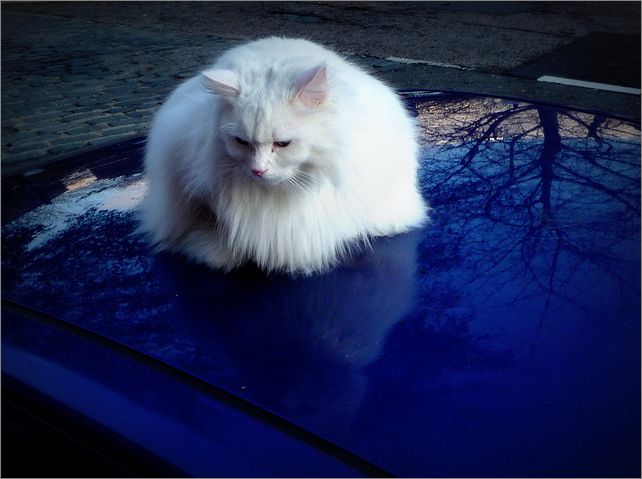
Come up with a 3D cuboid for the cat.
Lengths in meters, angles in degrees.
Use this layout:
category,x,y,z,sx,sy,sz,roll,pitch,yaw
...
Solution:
category,x,y,z,sx,sy,sz,roll,pitch,yaw
cat,-0.142,-0.410,2.483,1.038,0.634,0.991,14,25,29
